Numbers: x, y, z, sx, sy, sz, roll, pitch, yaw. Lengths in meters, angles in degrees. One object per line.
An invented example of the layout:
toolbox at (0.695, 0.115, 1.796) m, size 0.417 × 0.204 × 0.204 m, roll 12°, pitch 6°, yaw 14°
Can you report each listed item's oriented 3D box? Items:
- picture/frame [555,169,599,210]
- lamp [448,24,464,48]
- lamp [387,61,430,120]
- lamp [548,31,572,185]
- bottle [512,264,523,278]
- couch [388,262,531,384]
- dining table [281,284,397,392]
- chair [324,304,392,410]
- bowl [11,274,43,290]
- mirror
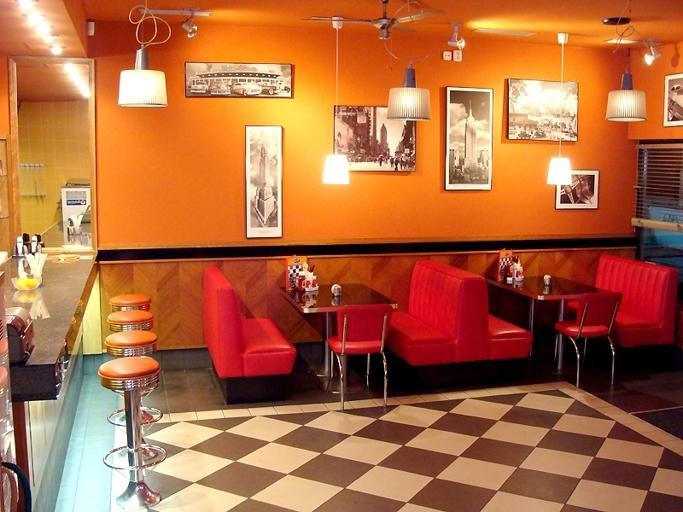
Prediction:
picture/frame at (3.301, -0.958, 7.888) m, size 0.565 × 0.500 × 0.039 m, roll 0°, pitch 2°, yaw -13°
lamp at (1.389, -2.670, 6.780) m, size 0.117 × 0.253 × 0.280 m, roll 2°, pitch 8°, yaw 30°
lamp at (0.640, -1.663, 5.769) m, size 0.505 × 0.573 × 0.522 m, roll 1°, pitch 4°, yaw -1°
lamp at (2.973, -1.898, 7.433) m, size 0.304 × 1.942 × 1.045 m, roll 4°, pitch 10°, yaw 22°
bottle at (2.306, 0.187, 7.302) m, size 0.140 × 0.219 × 0.160 m, roll 0°, pitch 2°, yaw 33°
couch at (1.306, 0.703, 6.740) m, size 1.553 × 1.161 × 1.138 m, roll -1°, pitch 10°, yaw -7°
dining table at (-0.064, 0.862, 6.684) m, size 1.218 × 1.147 × 1.232 m, roll -1°, pitch 16°, yaw -15°
chair at (0.193, 0.985, 6.051) m, size 0.652 × 1.147 × 0.829 m, roll 1°, pitch 10°, yaw 3°
bowl at (-2.752, 0.223, 4.880) m, size 0.223 × 0.113 × 0.241 m, roll 0°, pitch 10°, yaw 0°
mirror at (-3.355, -1.167, 6.504) m, size 1.001 × 2.195 × 0.299 m, roll -4°, pitch 11°, yaw -23°
